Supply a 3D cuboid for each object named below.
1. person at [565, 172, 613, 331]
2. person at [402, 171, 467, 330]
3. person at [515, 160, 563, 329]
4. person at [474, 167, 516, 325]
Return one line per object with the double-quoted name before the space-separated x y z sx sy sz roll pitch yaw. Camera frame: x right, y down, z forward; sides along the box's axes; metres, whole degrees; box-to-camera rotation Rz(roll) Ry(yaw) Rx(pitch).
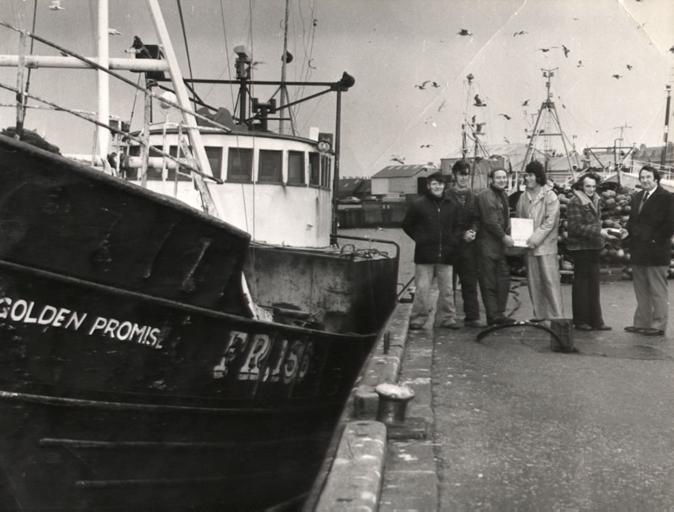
"person" 3.046 -0.053 9.280 0.515 1.884 0.526 0 7 4
"person" 1.139 -0.064 9.140 0.584 1.865 0.871 6 9 41
"person" 2.354 -0.159 8.811 0.525 1.864 0.661 2 7 13
"person" 1.867 -0.121 9.119 0.419 1.814 0.846 1 7 10
